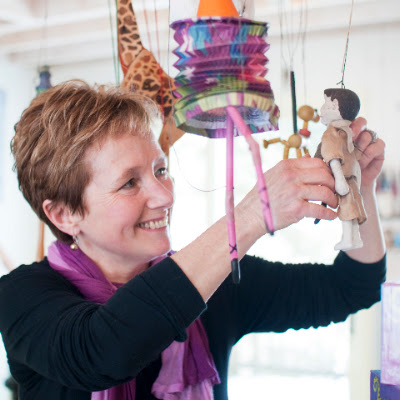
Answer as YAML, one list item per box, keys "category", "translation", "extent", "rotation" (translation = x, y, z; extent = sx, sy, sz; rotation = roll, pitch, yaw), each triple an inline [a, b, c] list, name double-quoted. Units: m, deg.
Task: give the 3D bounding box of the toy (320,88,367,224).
- category: "toy"
  translation: [0.281, -0.086, 1.348]
  extent: [0.090, 0.263, 0.116]
  rotation: [2, 5, 7]
